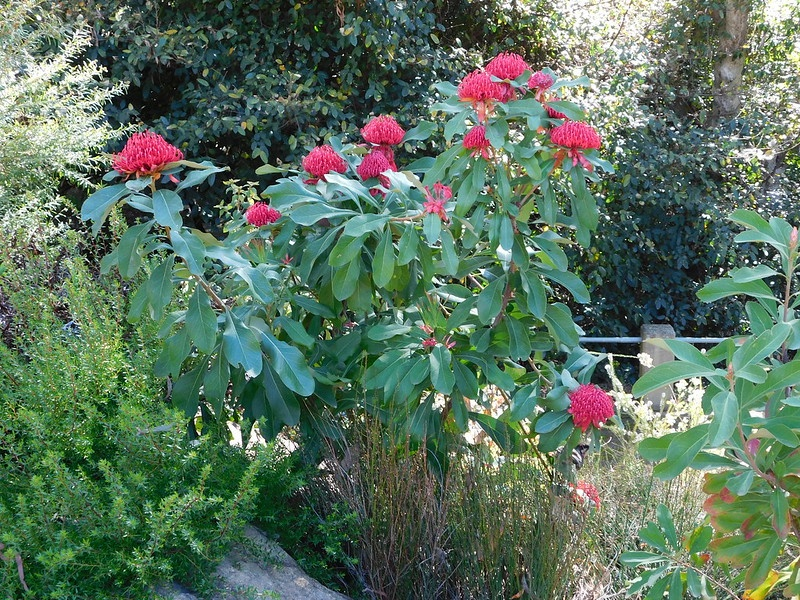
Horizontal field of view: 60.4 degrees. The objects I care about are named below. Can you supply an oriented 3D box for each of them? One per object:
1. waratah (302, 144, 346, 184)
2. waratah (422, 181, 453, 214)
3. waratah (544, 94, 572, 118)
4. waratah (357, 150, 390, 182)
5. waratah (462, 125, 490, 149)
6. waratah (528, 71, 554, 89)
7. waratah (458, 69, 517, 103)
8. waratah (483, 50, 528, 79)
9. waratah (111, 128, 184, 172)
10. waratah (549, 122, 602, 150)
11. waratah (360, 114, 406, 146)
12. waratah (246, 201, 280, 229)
[{"bbox_3d":[-0.325,-0.575,2.945,0.146,0.173,0.151,4,9,39],"label":"waratah"},{"bbox_3d":[0.153,-0.417,2.738,0.131,0.065,0.132,18,-6,-42],"label":"waratah"},{"bbox_3d":[0.619,-0.755,2.689,0.092,0.081,0.206,13,19,11],"label":"waratah"},{"bbox_3d":[-0.113,-0.577,2.925,0.143,0.128,0.124,15,18,16],"label":"waratah"},{"bbox_3d":[0.283,-0.617,2.562,0.081,0.099,0.080,3,19,15],"label":"waratah"},{"bbox_3d":[0.560,-0.877,2.718,0.074,0.065,0.083,-6,24,4],"label":"waratah"},{"bbox_3d":[0.313,-0.798,2.592,0.133,0.082,0.140,12,18,34],"label":"waratah"},{"bbox_3d":[0.393,-0.887,2.656,0.124,0.081,0.130,-6,9,-23],"label":"waratah"},{"bbox_3d":[-0.894,-0.511,2.429,0.155,0.120,0.170,-4,12,22],"label":"waratah"},{"bbox_3d":[0.666,-0.627,2.607,0.192,0.098,0.121,14,18,10],"label":"waratah"},{"bbox_3d":[-0.075,-0.723,2.960,0.117,0.095,0.147,0,9,-6],"label":"waratah"},{"bbox_3d":[-0.603,-0.367,3.022,0.107,0.131,0.108,-4,1,-21],"label":"waratah"}]
